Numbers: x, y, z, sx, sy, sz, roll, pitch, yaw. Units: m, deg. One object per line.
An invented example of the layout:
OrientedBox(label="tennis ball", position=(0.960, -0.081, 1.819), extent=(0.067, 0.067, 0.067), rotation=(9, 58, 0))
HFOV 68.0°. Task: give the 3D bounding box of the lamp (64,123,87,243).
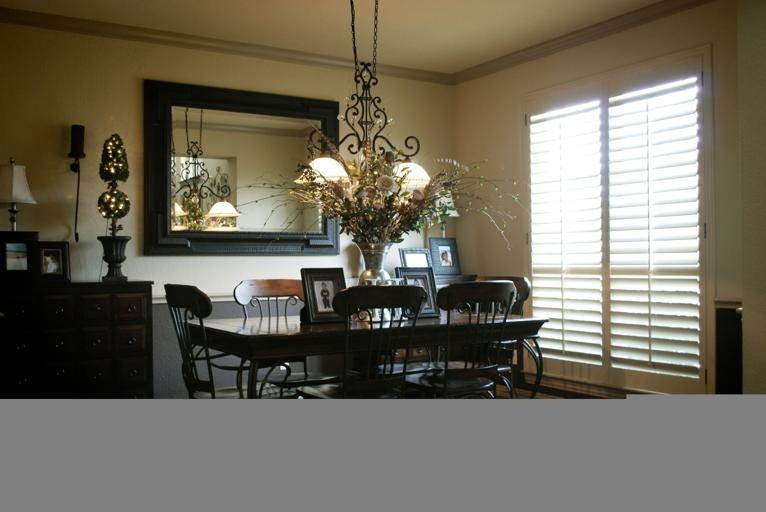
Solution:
OrientedBox(label="lamp", position=(-2.024, -0.474, 3.750), extent=(0.103, 0.767, 0.115), rotation=(0, -1, -34))

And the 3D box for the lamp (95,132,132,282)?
OrientedBox(label="lamp", position=(-1.742, -0.340, 3.674), extent=(0.185, 0.987, 0.479), rotation=(-1, -1, -26))

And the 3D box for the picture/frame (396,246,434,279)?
OrientedBox(label="picture/frame", position=(0.220, 0.044, 4.192), extent=(0.252, 0.219, 0.020), rotation=(0, -15, -37))

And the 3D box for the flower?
OrientedBox(label="flower", position=(-0.027, -0.318, 3.158), extent=(1.304, 0.733, 1.270), rotation=(1, -3, -9))

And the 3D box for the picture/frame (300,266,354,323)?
OrientedBox(label="picture/frame", position=(-0.259, 0.179, 2.542), extent=(0.265, 0.313, 0.042), rotation=(1, -17, -29))

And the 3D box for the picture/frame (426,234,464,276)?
OrientedBox(label="picture/frame", position=(0.529, -0.003, 4.968), extent=(0.351, 0.353, 0.034), rotation=(5, -17, -40))

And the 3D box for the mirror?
OrientedBox(label="mirror", position=(-1.103, -0.642, 4.115), extent=(1.417, 1.190, 0.098), rotation=(0, 0, -29))

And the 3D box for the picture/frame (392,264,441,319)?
OrientedBox(label="picture/frame", position=(0.162, 0.178, 2.793), extent=(0.219, 0.272, 0.029), rotation=(5, -20, -24))
